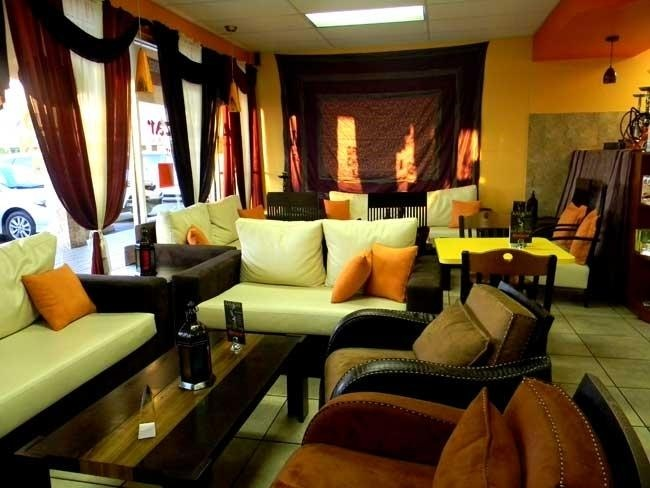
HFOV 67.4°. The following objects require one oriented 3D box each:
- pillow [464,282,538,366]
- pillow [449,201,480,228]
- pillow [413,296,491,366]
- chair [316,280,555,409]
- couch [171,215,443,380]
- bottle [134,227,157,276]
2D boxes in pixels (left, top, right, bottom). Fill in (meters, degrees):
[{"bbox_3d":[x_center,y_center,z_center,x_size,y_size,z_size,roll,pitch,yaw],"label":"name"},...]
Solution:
[{"bbox_3d":[0.830,0.389,2.298,0.108,0.335,0.279,0,-14,-16],"label":"pillow"},{"bbox_3d":[1.643,-0.351,5.685,0.371,0.424,0.156,6,-6,27],"label":"pillow"},{"bbox_3d":[0.646,0.490,2.510,0.252,0.245,0.604,-1,12,2],"label":"pillow"},{"bbox_3d":[0.531,0.463,2.423,0.857,0.706,0.848,1,7,12],"label":"chair"},{"bbox_3d":[-0.055,0.422,3.758,1.901,1.220,1.113,1,5,11],"label":"couch"},{"bbox_3d":[-1.468,0.066,3.947,0.175,0.390,0.178,2,13,0],"label":"bottle"}]
